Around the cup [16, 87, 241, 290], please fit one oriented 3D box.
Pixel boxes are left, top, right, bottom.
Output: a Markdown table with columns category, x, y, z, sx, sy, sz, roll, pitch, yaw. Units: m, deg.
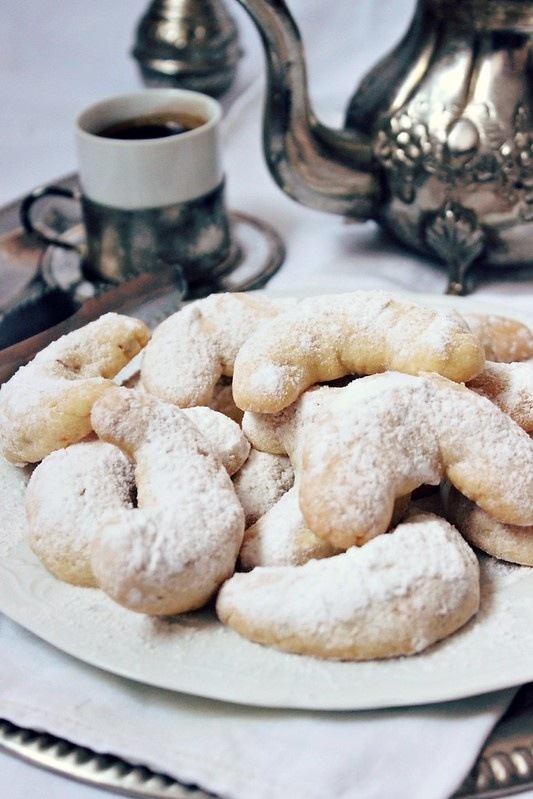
| category | x | y | z | sx | sy | sz | roll | pitch | yaw |
| --- | --- | --- | --- | --- | --- | --- | --- | --- | --- |
| cup | -0.107 | -0.217 | 0.892 | 0.266 | 0.160 | 0.147 | -8 | 39 | -6 |

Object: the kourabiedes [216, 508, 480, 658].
| category | x | y | z | sx | sy | sz | roll | pitch | yaw |
| --- | --- | --- | --- | --- | --- | --- | --- | --- | --- |
| kourabiedes | 0.056 | 0.097 | 0.461 | 0.144 | 0.030 | 0.095 | -16 | 28 | -33 |

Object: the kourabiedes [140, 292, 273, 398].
| category | x | y | z | sx | sy | sz | roll | pitch | yaw |
| --- | --- | --- | --- | --- | --- | --- | --- | --- | --- |
| kourabiedes | -0.042 | -0.042 | 0.589 | 0.060 | 0.021 | 0.093 | 35 | 52 | 25 |

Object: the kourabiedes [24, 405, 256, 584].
| category | x | y | z | sx | sy | sz | roll | pitch | yaw |
| --- | --- | --- | --- | --- | --- | --- | --- | --- | --- |
| kourabiedes | -0.070 | 0.060 | 0.488 | 0.119 | 0.028 | 0.103 | 15 | 41 | 14 |
